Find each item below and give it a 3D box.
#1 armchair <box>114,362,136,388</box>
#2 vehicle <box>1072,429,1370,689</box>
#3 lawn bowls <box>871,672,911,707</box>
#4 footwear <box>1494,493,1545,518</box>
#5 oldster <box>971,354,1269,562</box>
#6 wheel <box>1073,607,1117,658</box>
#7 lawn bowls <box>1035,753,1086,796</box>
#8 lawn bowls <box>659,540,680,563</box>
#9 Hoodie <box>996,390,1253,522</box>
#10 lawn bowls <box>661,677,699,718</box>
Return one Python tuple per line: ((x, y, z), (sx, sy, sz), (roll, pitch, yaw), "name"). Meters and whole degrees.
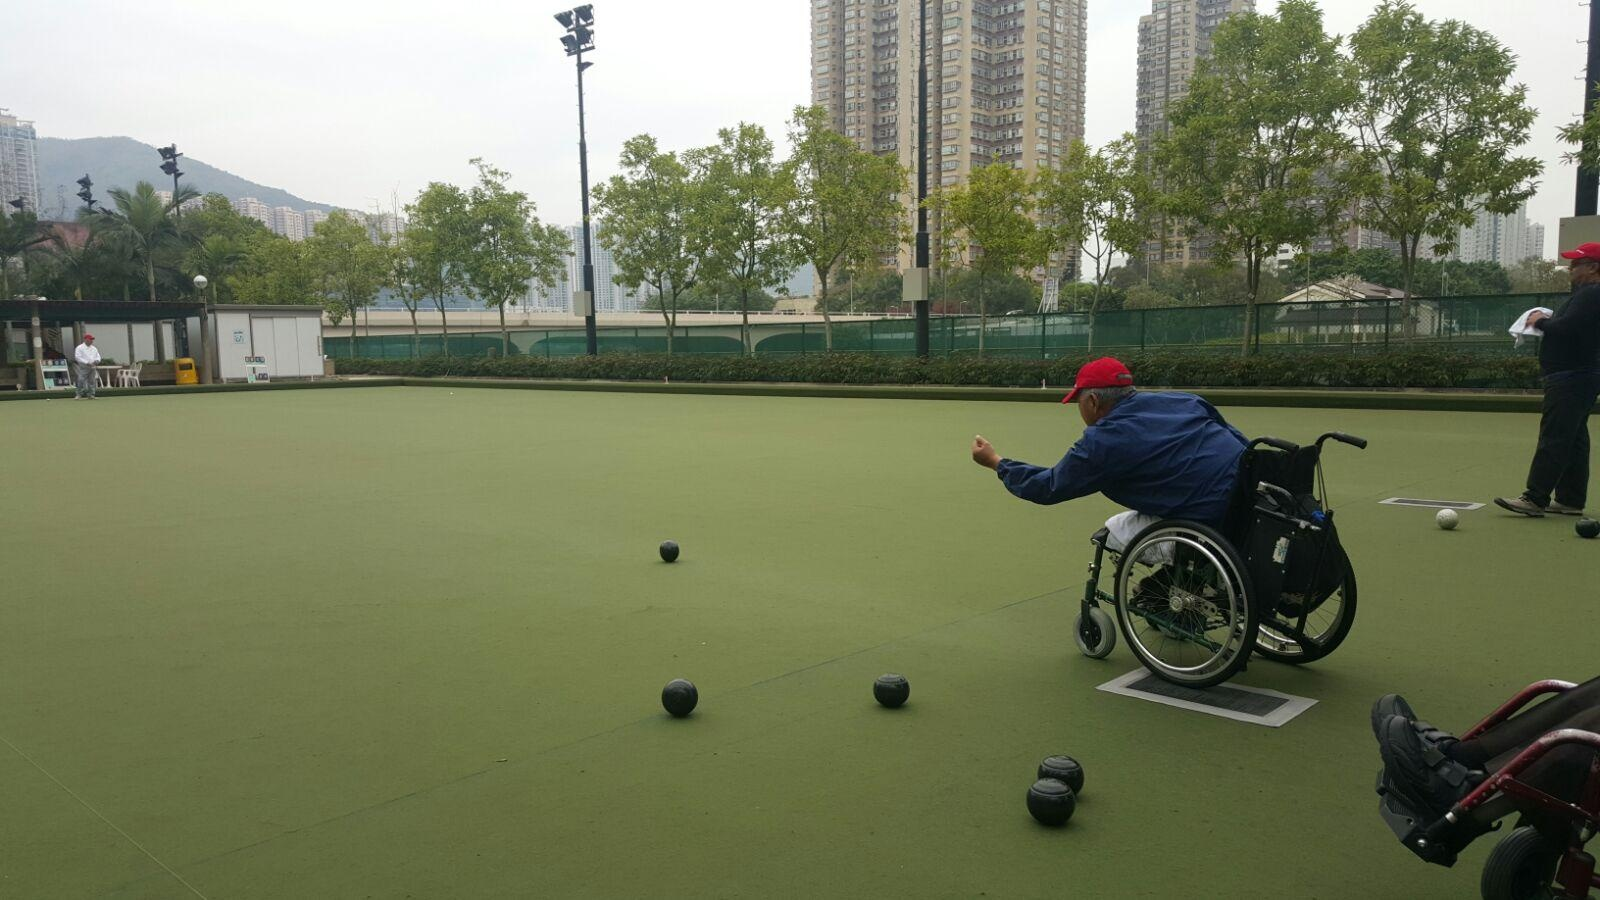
((-20.677, -2.308, 43.291), (0.609, 0.693, 0.868), (-8, 15, -27), "armchair")
((4.113, 1.091, 14.840), (2.007, 2.686, 3.221), (-1, 6, -32), "vehicle")
((0.881, 2.344, 13.752), (0.331, 0.209, 0.313), (-1, 3, 0), "lawn bowls")
((8.786, 0.693, 17.239), (0.641, 0.273, 0.234), (11, 7, 29), "footwear")
((3.182, 0.102, 14.347), (2.458, 1.893, 1.884), (-4, 24, 39), "oldster")
((2.957, 1.861, 14.191), (0.570, 0.611, 0.313), (-1, -1, -3), "wheel")
((2.381, 2.939, 12.835), (0.372, 0.329, 0.360), (-4, 4, 0), "lawn bowls")
((-1.529, 1.188, 16.456), (0.242, 0.252, 0.229), (-1, 8, 0), "lawn bowls")
((3.218, 0.059, 13.982), (1.892, 0.656, 1.434), (9, 34, 37), "Hoodie")
((-1.166, 2.414, 13.610), (0.364, 0.330, 0.181), (-2, 1, 10), "lawn bowls")
